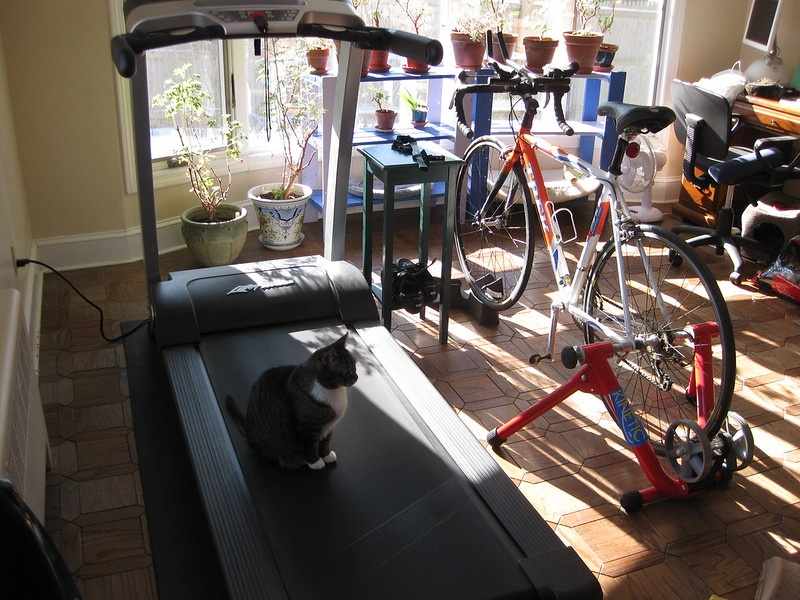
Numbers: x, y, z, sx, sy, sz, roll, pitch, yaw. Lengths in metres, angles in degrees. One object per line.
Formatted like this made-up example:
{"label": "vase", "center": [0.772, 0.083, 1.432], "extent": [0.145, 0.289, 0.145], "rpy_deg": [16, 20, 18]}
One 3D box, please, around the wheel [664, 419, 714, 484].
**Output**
{"label": "wheel", "center": [1.036, 0.539, 2.149], "extent": [0.066, 0.243, 0.198], "rpy_deg": [-9, 14, -26]}

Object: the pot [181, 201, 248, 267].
{"label": "pot", "center": [-1.154, -0.385, 3.836], "extent": [0.391, 0.322, 0.413], "rpy_deg": [0, 27, 0]}

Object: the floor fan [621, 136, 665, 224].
{"label": "floor fan", "center": [1.756, -0.885, 4.336], "extent": [0.258, 0.615, 0.394], "rpy_deg": [-9, 24, -4]}

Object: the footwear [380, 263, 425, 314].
{"label": "footwear", "center": [0.012, -0.063, 3.001], "extent": [0.122, 0.132, 0.330], "rpy_deg": [-8, 38, -14]}

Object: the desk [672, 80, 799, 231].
{"label": "desk", "center": [2.131, -0.923, 3.767], "extent": [0.655, 0.913, 0.542], "rpy_deg": [-17, 38, -15]}

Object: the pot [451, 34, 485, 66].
{"label": "pot", "center": [0.458, -1.663, 4.052], "extent": [0.194, 0.162, 0.204], "rpy_deg": [0, 31, 0]}

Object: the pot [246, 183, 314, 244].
{"label": "pot", "center": [-0.808, -0.552, 4.012], "extent": [0.392, 0.341, 0.412], "rpy_deg": [0, 31, 0]}

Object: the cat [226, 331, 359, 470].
{"label": "cat", "center": [-0.345, 0.307, 1.944], "extent": [0.371, 0.468, 0.245], "rpy_deg": [19, 22, 21]}

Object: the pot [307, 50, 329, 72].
{"label": "pot", "center": [-0.534, -1.569, 3.966], "extent": [0.131, 0.119, 0.132], "rpy_deg": [2, 32, -1]}
